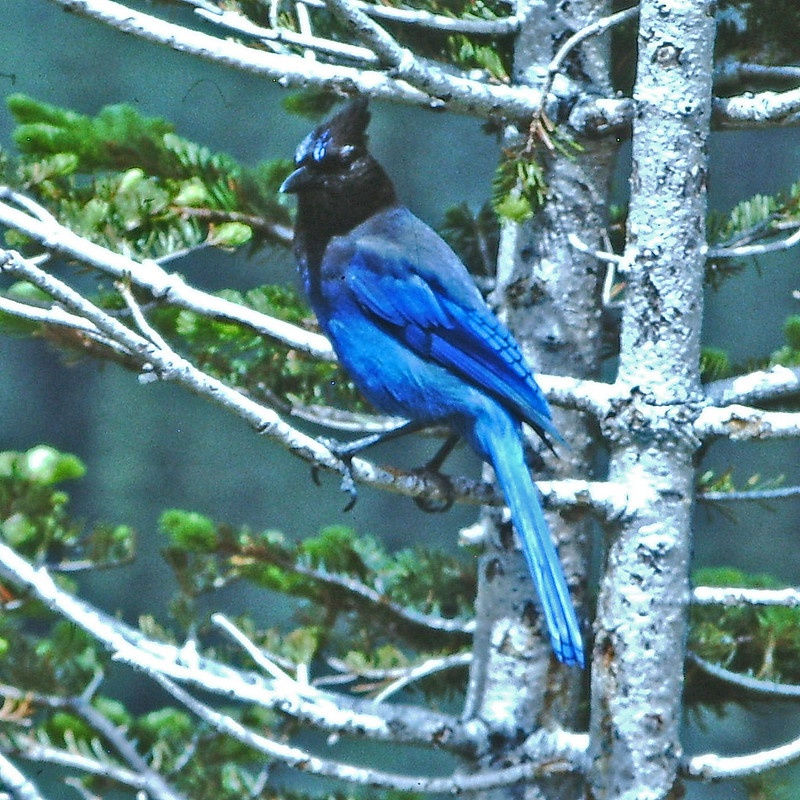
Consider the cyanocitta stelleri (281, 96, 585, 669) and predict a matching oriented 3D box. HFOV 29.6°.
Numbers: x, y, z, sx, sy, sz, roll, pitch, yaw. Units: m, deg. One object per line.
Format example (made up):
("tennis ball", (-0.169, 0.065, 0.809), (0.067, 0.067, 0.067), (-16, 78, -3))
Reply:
("cyanocitta stelleri", (0.083, -0.084, 4.555), (0.858, 1.686, 0.421), (0, -1, 5))
